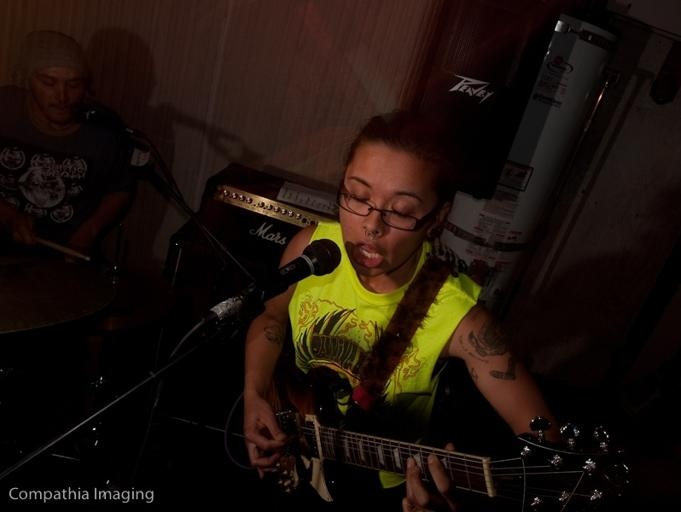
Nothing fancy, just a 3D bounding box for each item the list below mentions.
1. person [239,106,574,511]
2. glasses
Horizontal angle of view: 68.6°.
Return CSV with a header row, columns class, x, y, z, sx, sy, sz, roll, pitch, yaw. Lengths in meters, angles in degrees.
class,x,y,z,sx,sy,sz,roll,pitch,yaw
person,0.273,0.209,2.307,1.235,1.858,0.905,21,32,27
glasses,0.172,-0.165,1.985,0.220,0.061,0.219,25,5,14
